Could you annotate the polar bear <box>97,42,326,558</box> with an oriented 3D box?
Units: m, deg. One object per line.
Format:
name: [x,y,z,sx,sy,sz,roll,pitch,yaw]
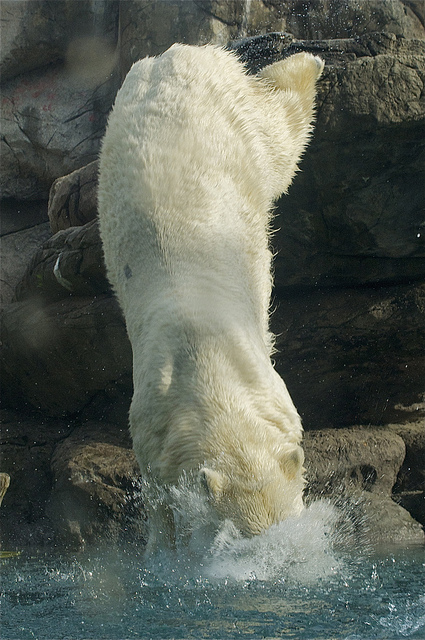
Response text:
polar bear: [-0.023,-0.153,5.367,0.963,2.512,1.045,-2,1,-4]
